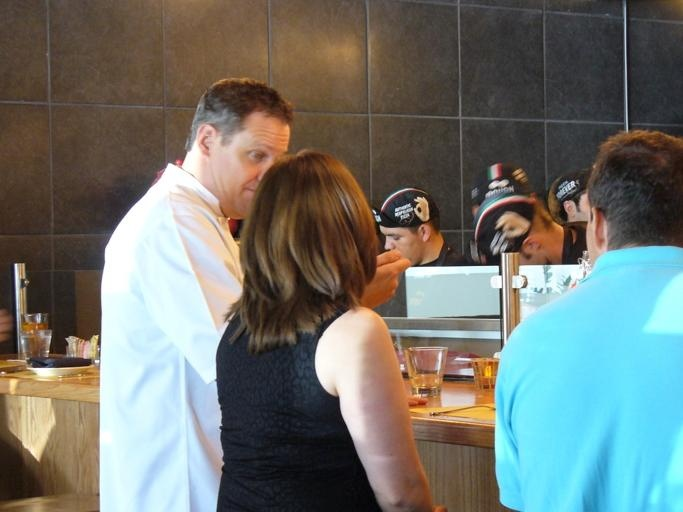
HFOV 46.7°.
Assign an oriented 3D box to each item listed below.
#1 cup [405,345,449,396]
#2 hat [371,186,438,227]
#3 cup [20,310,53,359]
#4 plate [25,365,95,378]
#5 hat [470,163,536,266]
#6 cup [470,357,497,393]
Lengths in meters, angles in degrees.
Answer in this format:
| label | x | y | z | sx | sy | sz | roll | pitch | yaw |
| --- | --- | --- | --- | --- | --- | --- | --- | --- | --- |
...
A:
| label | x | y | z | sx | sy | sz | roll | pitch | yaw |
| --- | --- | --- | --- | --- | --- | --- | --- | --- | --- |
| cup | 0.241 | 0.351 | 2.418 | 0.132 | 0.157 | 0.142 | 0 | -8 | 0 |
| hat | 0.382 | -0.313 | 5.075 | 0.486 | 0.288 | 0.354 | -4 | 3 | -17 |
| cup | -1.362 | 0.355 | 3.506 | 0.123 | 0.177 | 0.245 | -2 | 1 | -23 |
| plate | -1.093 | 0.437 | 3.054 | 0.256 | 0.041 | 0.204 | -2 | 0 | -8 |
| hat | 1.062 | -0.310 | 5.652 | 0.574 | 0.824 | 0.651 | 1 | 5 | 9 |
| cup | 0.449 | 0.378 | 2.544 | 0.098 | 0.092 | 0.107 | -2 | -14 | 0 |
